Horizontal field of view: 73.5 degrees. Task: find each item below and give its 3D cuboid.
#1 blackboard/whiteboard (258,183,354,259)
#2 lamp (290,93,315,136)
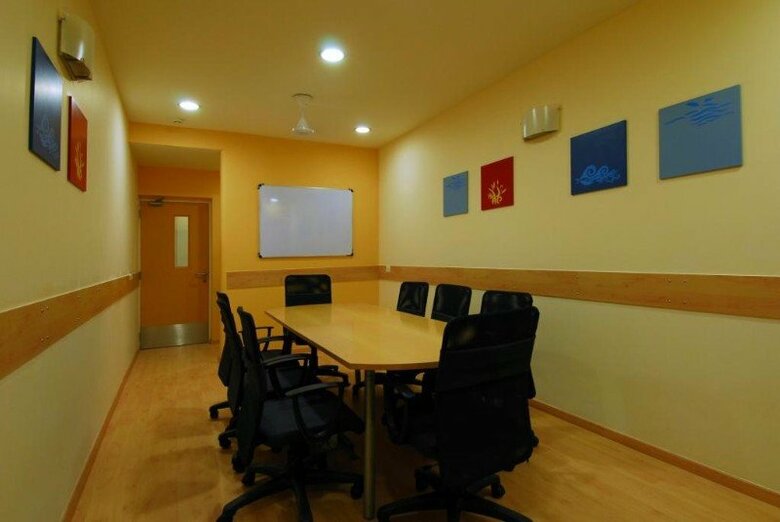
[{"bbox_3d":[-1.104,-0.514,6.948,1.268,0.945,0.031,0,-8,-13],"label":"blackboard/whiteboard"},{"bbox_3d":[-0.966,-1.600,5.755,0.290,0.346,0.304,-2,-3,24],"label":"lamp"}]
